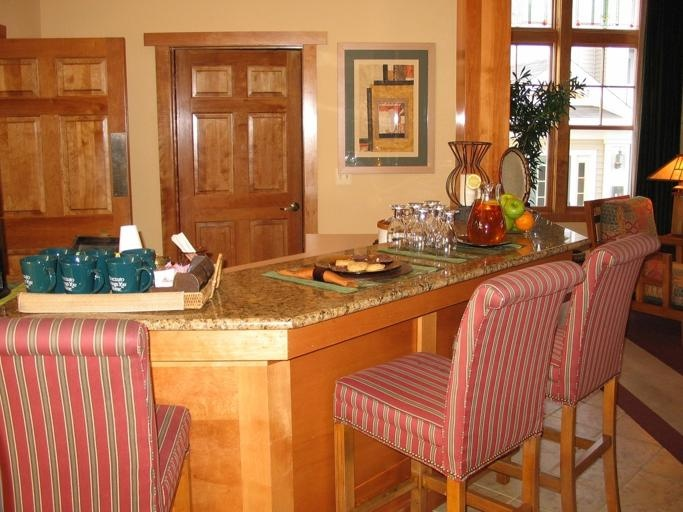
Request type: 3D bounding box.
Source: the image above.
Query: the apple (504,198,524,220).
[{"bbox_3d":[0.896,-0.251,3.128,0.102,0.097,0.101,-9,20,-7],"label":"apple"}]

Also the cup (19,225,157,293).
[{"bbox_3d":[-0.854,0.019,2.039,0.353,0.137,0.231,4,9,11],"label":"cup"}]

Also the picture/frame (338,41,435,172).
[{"bbox_3d":[0.350,-1.272,4.879,1.083,1.320,0.062,-1,11,-6],"label":"picture/frame"}]

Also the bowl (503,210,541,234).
[{"bbox_3d":[0.961,-0.169,3.205,0.184,0.094,0.183,-19,7,2],"label":"bowl"}]

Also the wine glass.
[{"bbox_3d":[0.367,-0.136,2.739,0.327,0.227,0.178,3,15,15],"label":"wine glass"}]

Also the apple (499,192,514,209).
[{"bbox_3d":[0.871,-0.292,3.130,0.098,0.093,0.098,-1,0,27],"label":"apple"}]

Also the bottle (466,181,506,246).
[{"bbox_3d":[0.686,-0.195,2.795,0.172,0.285,0.093,2,15,10],"label":"bottle"}]
